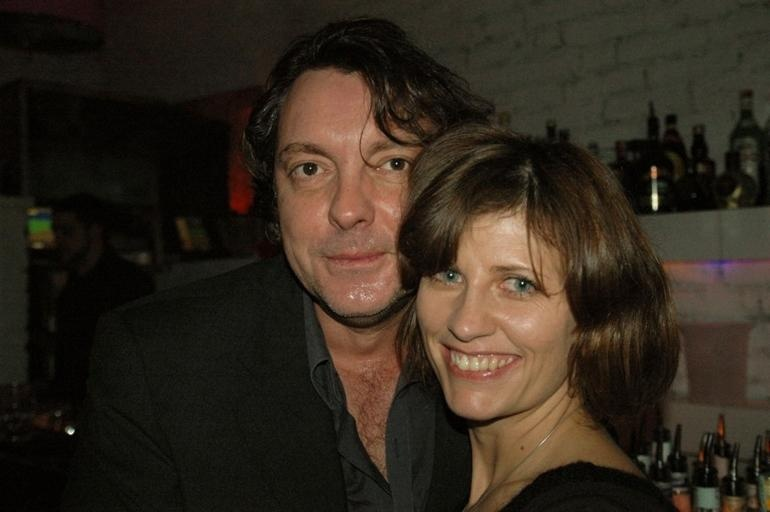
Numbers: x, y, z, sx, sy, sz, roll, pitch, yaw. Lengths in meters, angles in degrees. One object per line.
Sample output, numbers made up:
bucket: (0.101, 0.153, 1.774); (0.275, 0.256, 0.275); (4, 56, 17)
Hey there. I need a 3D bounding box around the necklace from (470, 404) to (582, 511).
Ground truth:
necklace: (0.594, 0.818, 3.175); (0.759, 0.081, 0.080); (-42, 9, -37)
